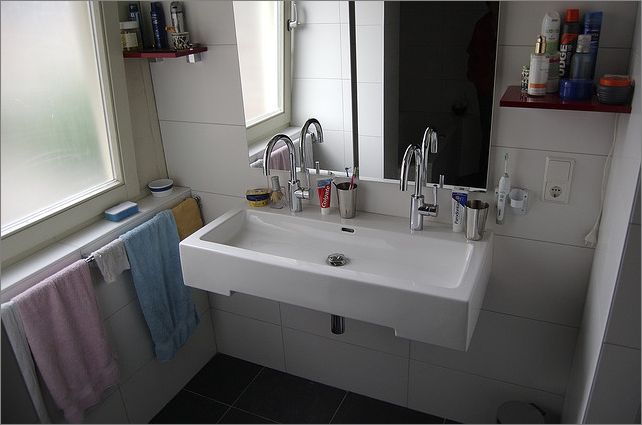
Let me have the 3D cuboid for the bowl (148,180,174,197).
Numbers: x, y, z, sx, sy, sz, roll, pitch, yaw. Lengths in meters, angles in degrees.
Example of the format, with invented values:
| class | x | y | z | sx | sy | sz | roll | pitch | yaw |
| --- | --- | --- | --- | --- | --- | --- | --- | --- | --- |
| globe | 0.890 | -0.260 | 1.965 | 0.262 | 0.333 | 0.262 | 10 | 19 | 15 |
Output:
| class | x | y | z | sx | sy | sz | roll | pitch | yaw |
| --- | --- | --- | --- | --- | --- | --- | --- | --- | --- |
| bowl | -1.002 | -0.158 | 2.752 | 0.116 | 0.053 | 0.115 | 0 | 25 | 0 |

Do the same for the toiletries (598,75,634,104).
| class | x | y | z | sx | sy | sz | roll | pitch | yaw |
| --- | --- | --- | --- | --- | --- | --- | --- | --- | --- |
| toiletries | 1.167 | -0.491 | 1.793 | 0.121 | 0.098 | 0.122 | -1 | 19 | 1 |

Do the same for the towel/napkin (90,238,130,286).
| class | x | y | z | sx | sy | sz | roll | pitch | yaw |
| --- | --- | --- | --- | --- | --- | --- | --- | --- | --- |
| towel/napkin | -1.138 | 0.254 | 2.370 | 0.094 | 0.157 | 0.210 | 7 | 28 | 18 |

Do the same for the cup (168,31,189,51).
| class | x | y | z | sx | sy | sz | roll | pitch | yaw |
| --- | --- | --- | --- | --- | --- | --- | --- | --- | --- |
| cup | -0.778 | -0.943 | 2.444 | 0.109 | 0.095 | 0.100 | -1 | 28 | 0 |

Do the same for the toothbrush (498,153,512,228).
| class | x | y | z | sx | sy | sz | roll | pitch | yaw |
| --- | --- | --- | --- | --- | --- | --- | --- | --- | --- |
| toothbrush | 0.901 | -0.113 | 2.185 | 0.061 | 0.348 | 0.085 | 12 | 26 | 26 |

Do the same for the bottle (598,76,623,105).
| class | x | y | z | sx | sy | sz | roll | pitch | yaw |
| --- | --- | --- | --- | --- | --- | --- | --- | --- | --- |
| bottle | 1.154 | -0.482 | 1.764 | 0.101 | 0.103 | 0.102 | 5 | 17 | 27 |

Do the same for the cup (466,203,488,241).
| class | x | y | z | sx | sy | sz | roll | pitch | yaw |
| --- | --- | --- | --- | --- | --- | --- | --- | --- | --- |
| cup | 0.785 | 0.032 | 2.219 | 0.131 | 0.188 | 0.115 | 2 | 23 | 6 |

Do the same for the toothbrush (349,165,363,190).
| class | x | y | z | sx | sy | sz | roll | pitch | yaw |
| --- | --- | --- | --- | --- | --- | --- | --- | --- | --- |
| toothbrush | 0.189 | -0.190 | 2.437 | 0.035 | 0.149 | 0.034 | 16 | 0 | -20 |

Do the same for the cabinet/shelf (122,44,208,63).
| class | x | y | z | sx | sy | sz | roll | pitch | yaw |
| --- | --- | --- | --- | --- | --- | --- | --- | --- | --- |
| cabinet/shelf | -0.848 | -0.868 | 2.432 | 0.448 | 0.082 | 0.223 | -10 | 25 | -22 |

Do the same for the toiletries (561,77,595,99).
| class | x | y | z | sx | sy | sz | roll | pitch | yaw |
| --- | --- | --- | --- | --- | --- | --- | --- | --- | --- |
| toiletries | 1.060 | -0.506 | 1.828 | 0.096 | 0.060 | 0.096 | 16 | 27 | 40 |

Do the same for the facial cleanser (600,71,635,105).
| class | x | y | z | sx | sy | sz | roll | pitch | yaw |
| --- | --- | --- | --- | --- | --- | --- | --- | --- | --- |
| facial cleanser | 1.173 | -0.504 | 1.793 | 0.119 | 0.088 | 0.120 | -4 | 18 | -6 |

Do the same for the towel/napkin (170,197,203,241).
| class | x | y | z | sx | sy | sz | roll | pitch | yaw |
| --- | --- | --- | --- | --- | --- | --- | --- | --- | --- |
| towel/napkin | -0.838 | 0.042 | 2.772 | 0.071 | 0.227 | 0.224 | 9 | 27 | 28 |

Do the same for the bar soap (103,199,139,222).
| class | x | y | z | sx | sy | sz | roll | pitch | yaw |
| --- | --- | --- | --- | --- | --- | --- | --- | --- | --- |
| bar soap | -1.159 | -0.013 | 2.552 | 0.096 | 0.049 | 0.146 | 12 | 25 | 34 |

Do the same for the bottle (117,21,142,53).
| class | x | y | z | sx | sy | sz | roll | pitch | yaw |
| --- | --- | --- | --- | --- | --- | --- | --- | --- | --- |
| bottle | -1.052 | -0.969 | 2.441 | 0.112 | 0.152 | 0.062 | -11 | 25 | -23 |

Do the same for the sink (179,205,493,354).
| class | x | y | z | sx | sy | sz | roll | pitch | yaw |
| --- | --- | --- | --- | --- | --- | --- | --- | --- | --- |
| sink | 0.083 | 0.267 | 2.307 | 1.491 | 0.345 | 0.535 | 8 | 25 | 18 |

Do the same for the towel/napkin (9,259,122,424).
| class | x | y | z | sx | sy | sz | roll | pitch | yaw |
| --- | --- | --- | --- | --- | --- | --- | --- | --- | --- |
| towel/napkin | -1.253 | 0.672 | 2.250 | 0.170 | 0.779 | 0.362 | 15 | 28 | 32 |

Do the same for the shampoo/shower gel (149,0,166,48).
| class | x | y | z | sx | sy | sz | roll | pitch | yaw |
| --- | --- | --- | --- | --- | --- | --- | --- | --- | --- |
| shampoo/shower gel | -0.913 | -1.050 | 2.485 | 0.079 | 0.249 | 0.155 | -9 | 25 | -19 |
